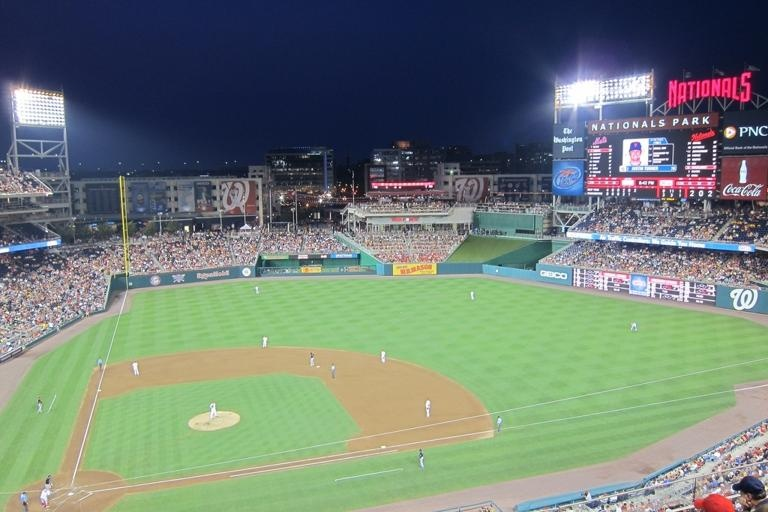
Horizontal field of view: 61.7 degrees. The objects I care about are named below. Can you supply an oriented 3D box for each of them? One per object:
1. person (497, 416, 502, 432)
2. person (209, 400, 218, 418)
[{"bbox_3d":[8.560,12.369,48.263,0.451,0.960,1.219,0,12,9],"label":"person"},{"bbox_3d":[-13.260,11.707,50.039,0.629,1.089,1.683,-5,12,-15],"label":"person"}]
